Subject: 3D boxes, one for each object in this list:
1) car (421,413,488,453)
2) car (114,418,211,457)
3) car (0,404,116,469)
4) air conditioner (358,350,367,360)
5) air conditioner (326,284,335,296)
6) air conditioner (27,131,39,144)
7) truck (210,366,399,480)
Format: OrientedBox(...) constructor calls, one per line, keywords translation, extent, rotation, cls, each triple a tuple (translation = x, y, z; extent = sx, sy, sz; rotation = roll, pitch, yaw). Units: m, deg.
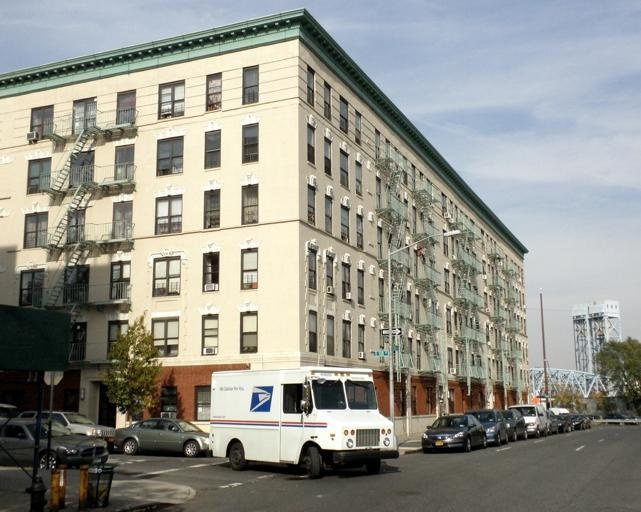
OrientedBox(translation=(6.572, 8.727, 41.401), extent=(2.103, 1.970, 3.484), rotation=(-12, -20, 35), cls="car")
OrientedBox(translation=(-7.070, 8.254, 38.077), extent=(4.790, 1.809, 0.929), rotation=(-9, -17, 25), cls="car")
OrientedBox(translation=(-10.021, 6.769, 31.481), extent=(4.861, 1.686, 2.205), rotation=(-4, -8, 19), cls="car")
OrientedBox(translation=(2.489, 6.047, 49.937), extent=(0.366, 0.544, 0.714), rotation=(-4, -10, 24), cls="air conditioner")
OrientedBox(translation=(0.568, 1.905, 47.005), extent=(0.286, 0.691, 1.060), rotation=(-4, -16, 12), cls="air conditioner")
OrientedBox(translation=(-17.505, -7.143, 51.050), extent=(0.646, 0.661, 0.358), rotation=(-5, -11, 20), cls="air conditioner")
OrientedBox(translation=(-0.801, 6.414, 31.780), extent=(3.715, 3.335, 6.385), rotation=(11, -18, -43), cls="truck")
